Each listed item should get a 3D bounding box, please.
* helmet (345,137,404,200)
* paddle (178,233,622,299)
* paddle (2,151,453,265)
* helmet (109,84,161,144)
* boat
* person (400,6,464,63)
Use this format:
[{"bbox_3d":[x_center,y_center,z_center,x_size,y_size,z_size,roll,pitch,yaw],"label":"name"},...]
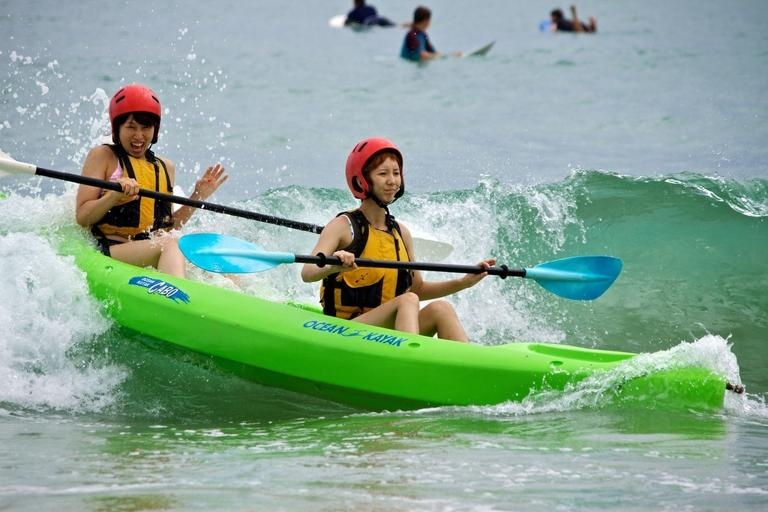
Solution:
[{"bbox_3d":[-0.133,-0.654,7.057,0.445,0.340,0.365,-4,9,14],"label":"helmet"},{"bbox_3d":[0.217,0.068,7.357,3.672,0.473,0.238,0,12,-11],"label":"paddle"},{"bbox_3d":[-1.335,-0.340,7.937,3.755,0.324,0.334,15,4,-3],"label":"paddle"},{"bbox_3d":[-1.945,-1.108,7.637,0.415,0.359,0.494,0,5,-40],"label":"helmet"},{"bbox_3d":[-0.033,0.534,7.150,4.429,0.687,0.558,9,11,13],"label":"boat"},{"bbox_3d":[0.477,-2.807,12.225,0.491,0.719,0.759,10,11,33],"label":"person"}]
